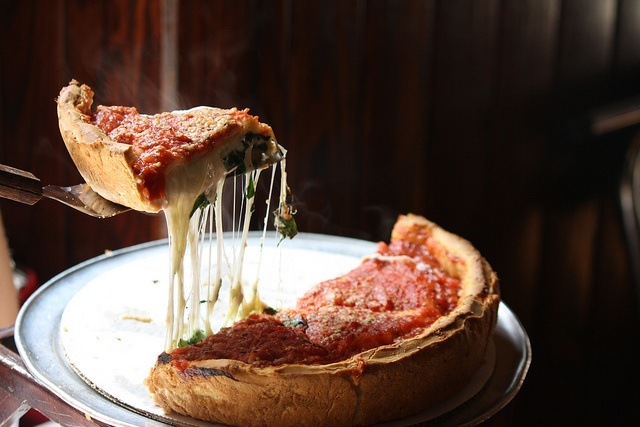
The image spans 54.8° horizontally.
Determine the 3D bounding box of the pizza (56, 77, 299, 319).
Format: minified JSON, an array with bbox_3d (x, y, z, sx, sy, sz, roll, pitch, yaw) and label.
[{"bbox_3d":[-0.786,-0.205,3.546,1.149,0.464,1.100,-21,56,-33],"label":"pizza"}]
